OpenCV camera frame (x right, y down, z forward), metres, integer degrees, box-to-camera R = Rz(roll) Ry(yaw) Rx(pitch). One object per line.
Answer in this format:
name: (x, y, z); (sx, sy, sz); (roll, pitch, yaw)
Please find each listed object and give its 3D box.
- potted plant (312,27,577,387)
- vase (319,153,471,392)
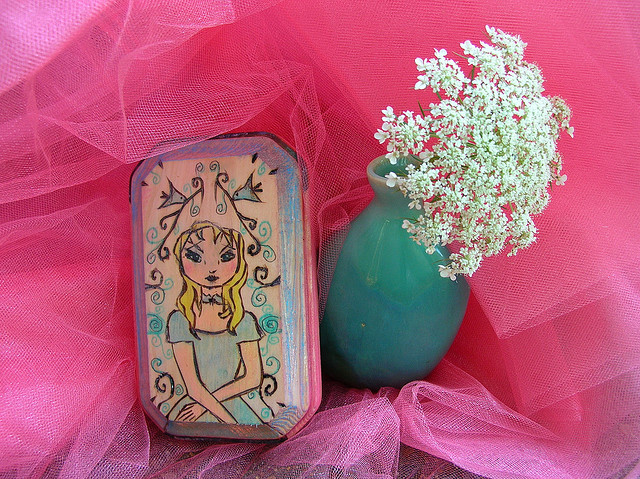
potted plant: (0.191, -0.044, 0.942); (0.384, 0.566, 0.258); (5, -5, -1)
vase: (0.078, 0.057, 1.062); (0.203, 0.327, 0.213); (11, 12, -29)
